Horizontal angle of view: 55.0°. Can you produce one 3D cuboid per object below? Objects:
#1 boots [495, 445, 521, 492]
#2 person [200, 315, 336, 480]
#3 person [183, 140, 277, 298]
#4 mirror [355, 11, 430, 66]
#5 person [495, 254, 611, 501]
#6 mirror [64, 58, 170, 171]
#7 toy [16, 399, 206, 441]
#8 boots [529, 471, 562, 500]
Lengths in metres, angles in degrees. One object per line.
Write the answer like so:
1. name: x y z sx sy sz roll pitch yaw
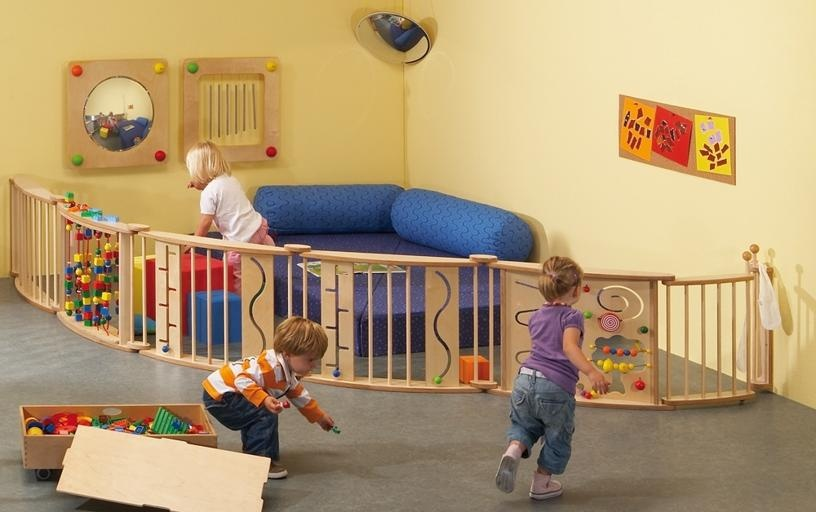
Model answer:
1. boots: 0.596 1.268 4.679 0.113 0.314 0.190 9 -13 9
2. person: -0.867 0.888 4.909 0.802 1.049 0.321 4 7 25
3. person: -1.576 -0.563 6.977 0.730 0.913 0.472 0 7 -16
4. mirror: -0.151 -2.415 8.360 0.609 0.168 0.595 -12 36 -42
5. person: 0.883 0.753 4.793 0.642 1.483 0.606 2 6 7
6. mirror: -3.315 -1.638 8.796 1.213 1.296 0.186 -1 5 -24
7. toy: -1.910 1.078 5.054 0.859 0.126 0.445 1 8 -13
8. boots: 0.842 1.412 4.810 0.244 0.175 0.111 -10 16 -36
